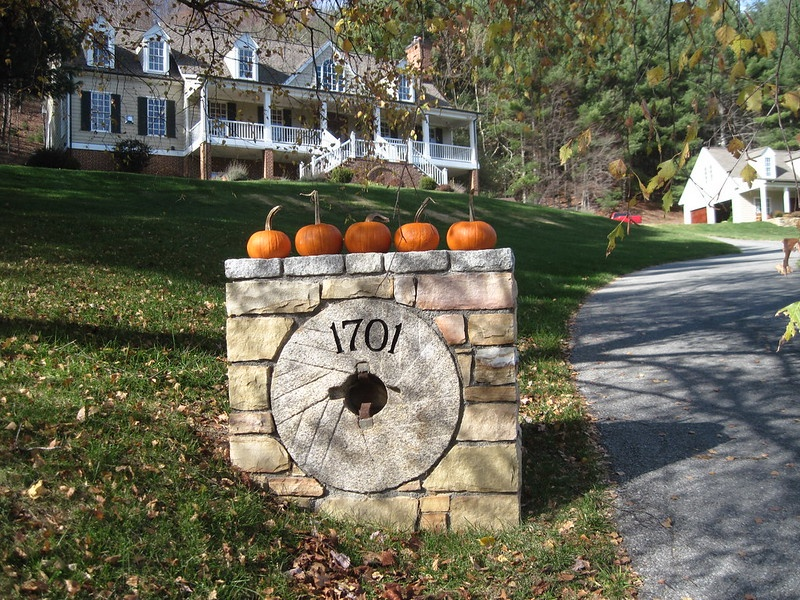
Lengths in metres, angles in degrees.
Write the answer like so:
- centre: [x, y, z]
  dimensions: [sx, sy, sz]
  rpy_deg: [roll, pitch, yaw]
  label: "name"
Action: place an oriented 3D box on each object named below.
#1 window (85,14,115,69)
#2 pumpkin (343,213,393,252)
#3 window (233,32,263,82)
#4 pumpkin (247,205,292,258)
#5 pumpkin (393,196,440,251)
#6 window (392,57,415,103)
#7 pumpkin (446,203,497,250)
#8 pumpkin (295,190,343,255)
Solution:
- centre: [-4.992, -4.316, 13.287]
  dimensions: [0.436, 0.115, 1.036]
  rpy_deg: [1, -37, -20]
  label: "window"
- centre: [-0.333, -0.695, 8.385]
  dimensions: [0.466, 0.412, 0.718]
  rpy_deg: [2, 5, -3]
  label: "pumpkin"
- centre: [-5.942, -9.385, 30.718]
  dimensions: [0.880, 1.949, 0.227]
  rpy_deg: [0, 43, -12]
  label: "window"
- centre: [-1.387, -0.658, 8.413]
  dimensions: [0.421, 0.662, 0.458]
  rpy_deg: [-10, -16, 16]
  label: "pumpkin"
- centre: [0.185, -0.767, 8.408]
  dimensions: [0.391, 0.603, 0.422]
  rpy_deg: [3, -1, 1]
  label: "pumpkin"
- centre: [-0.028, -6.881, 25.175]
  dimensions: [0.768, 1.414, 0.834]
  rpy_deg: [-10, 20, -20]
  label: "window"
- centre: [0.764, -0.739, 8.328]
  dimensions: [0.456, 0.519, 0.437]
  rpy_deg: [-3, 3, -29]
  label: "pumpkin"
- centre: [-0.892, -0.818, 8.559]
  dimensions: [0.592, 0.979, 0.632]
  rpy_deg: [-2, 6, -9]
  label: "pumpkin"
